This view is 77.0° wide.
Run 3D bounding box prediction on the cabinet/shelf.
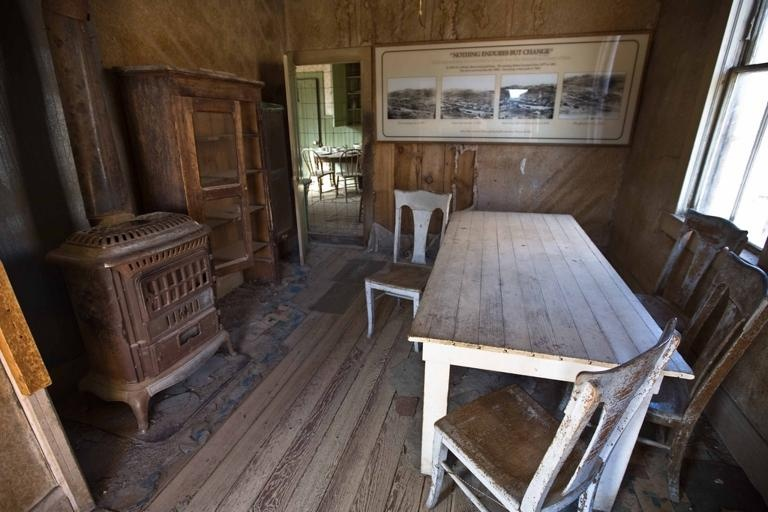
[{"bbox_3d":[-1.477,-0.566,4.159,0.622,1.961,1.122,7,22,21],"label":"cabinet/shelf"}]
